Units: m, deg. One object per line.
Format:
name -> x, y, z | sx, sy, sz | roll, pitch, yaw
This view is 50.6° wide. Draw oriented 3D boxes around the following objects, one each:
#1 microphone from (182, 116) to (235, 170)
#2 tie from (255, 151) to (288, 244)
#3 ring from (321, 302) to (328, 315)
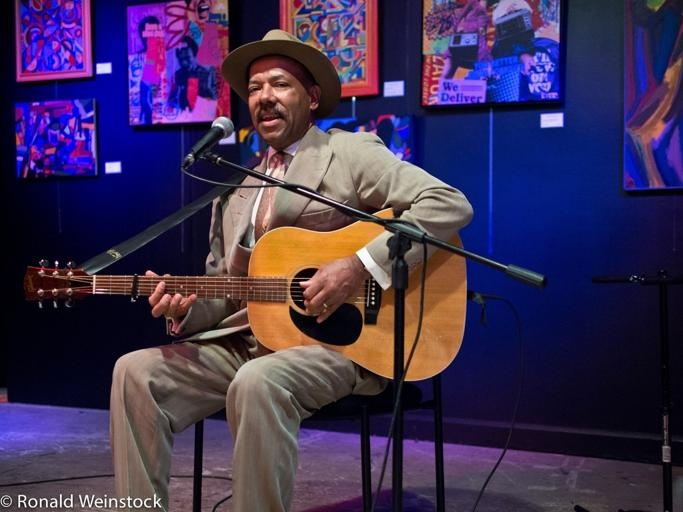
microphone -> -0.605, -0.514, 3.293 | 0.206, 0.253, 0.481 | 1, 5, -9
tie -> -0.364, -0.311, 3.724 | 0.157, 0.475, 0.065 | 5, -10, 8
ring -> -0.075, 0.243, 3.327 | 0.032, 0.051, 0.012 | 0, 18, 1
